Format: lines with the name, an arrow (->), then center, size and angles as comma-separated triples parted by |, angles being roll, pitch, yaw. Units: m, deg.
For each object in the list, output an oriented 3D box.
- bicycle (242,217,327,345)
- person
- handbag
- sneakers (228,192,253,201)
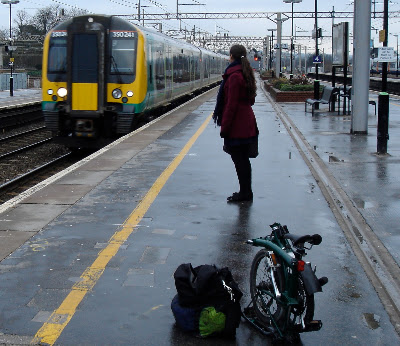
bicycle -> 0.523, 0.696, 2.446 | 0.366, 0.803, 0.771 | -2, 13, -10
person -> 0.527, -0.669, 5.334 | 0.669, 2.302, 0.408 | 0, 13, -1
handbag -> 0.045, 0.880, 2.626 | 0.520, 0.399, 0.589 | 8, -4, -36
sneakers -> 0.601, 0.384, 5.733 | 0.414, 0.166, 0.137 | 5, -2, -1
